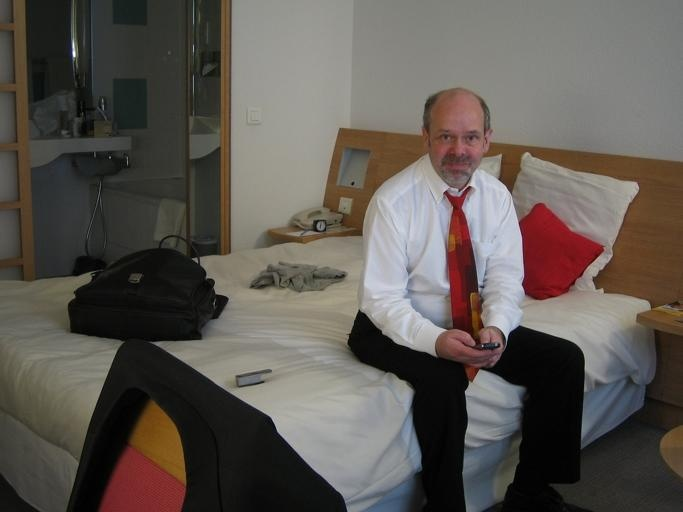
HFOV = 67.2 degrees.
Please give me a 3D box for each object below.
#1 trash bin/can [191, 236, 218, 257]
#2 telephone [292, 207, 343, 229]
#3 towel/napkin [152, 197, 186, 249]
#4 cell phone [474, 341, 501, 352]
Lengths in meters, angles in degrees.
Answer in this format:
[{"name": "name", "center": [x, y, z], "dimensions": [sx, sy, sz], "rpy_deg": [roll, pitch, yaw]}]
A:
[{"name": "trash bin/can", "center": [-0.988, -0.064, 3.740], "dimensions": [0.126, 0.150, 0.132], "rpy_deg": [4, 14, 12]}, {"name": "telephone", "center": [-0.165, -0.302, 3.922], "dimensions": [0.289, 0.116, 0.182], "rpy_deg": [-8, 14, -28]}, {"name": "towel/napkin", "center": [-1.176, -0.256, 3.504], "dimensions": [0.264, 0.394, 0.111], "rpy_deg": [2, 5, 3]}, {"name": "cell phone", "center": [0.491, 0.303, 1.704], "dimensions": [0.094, 0.032, 0.021], "rpy_deg": [-3, 15, -18]}]
